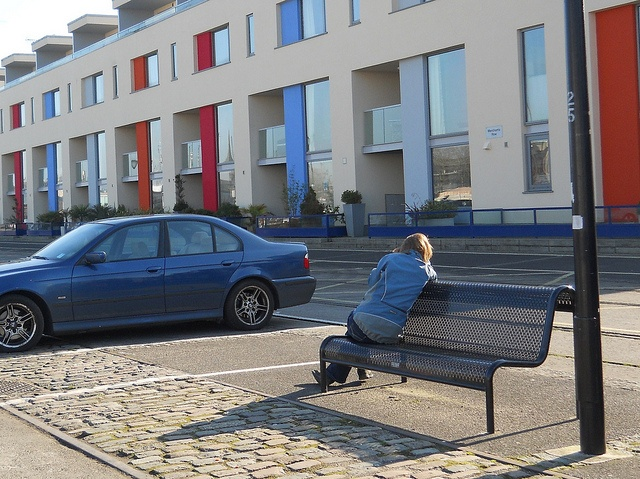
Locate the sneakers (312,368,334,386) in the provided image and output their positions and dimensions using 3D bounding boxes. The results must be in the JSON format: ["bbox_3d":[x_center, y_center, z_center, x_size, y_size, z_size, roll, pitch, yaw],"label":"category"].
[{"bbox_3d":[0.006,1.378,6.321,0.099,0.135,0.299,-1,18,-33],"label":"sneakers"}]
